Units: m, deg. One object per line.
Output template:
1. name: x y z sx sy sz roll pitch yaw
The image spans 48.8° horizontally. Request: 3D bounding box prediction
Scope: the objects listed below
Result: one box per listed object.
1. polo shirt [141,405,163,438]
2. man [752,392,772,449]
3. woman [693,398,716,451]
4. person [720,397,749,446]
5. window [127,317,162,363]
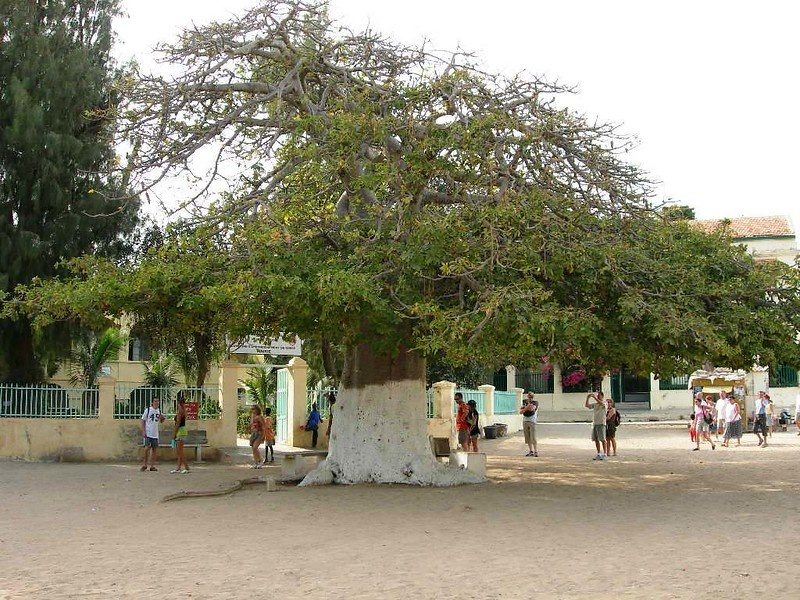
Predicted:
1. polo shirt: -6.499 3.177 22.882 0.384 0.862 0.349 1 1 -14
2. man: 12.018 3.901 29.186 0.420 1.795 2.950 2 1 23
3. woman: 9.812 3.954 28.435 0.677 1.650 0.519 -1 -11 15
4. person: 11.045 4.094 29.223 0.558 1.589 2.150 1 1 21
5. window: -8.178 1.332 27.894 1.016 1.866 1.911 1 -6 -13
